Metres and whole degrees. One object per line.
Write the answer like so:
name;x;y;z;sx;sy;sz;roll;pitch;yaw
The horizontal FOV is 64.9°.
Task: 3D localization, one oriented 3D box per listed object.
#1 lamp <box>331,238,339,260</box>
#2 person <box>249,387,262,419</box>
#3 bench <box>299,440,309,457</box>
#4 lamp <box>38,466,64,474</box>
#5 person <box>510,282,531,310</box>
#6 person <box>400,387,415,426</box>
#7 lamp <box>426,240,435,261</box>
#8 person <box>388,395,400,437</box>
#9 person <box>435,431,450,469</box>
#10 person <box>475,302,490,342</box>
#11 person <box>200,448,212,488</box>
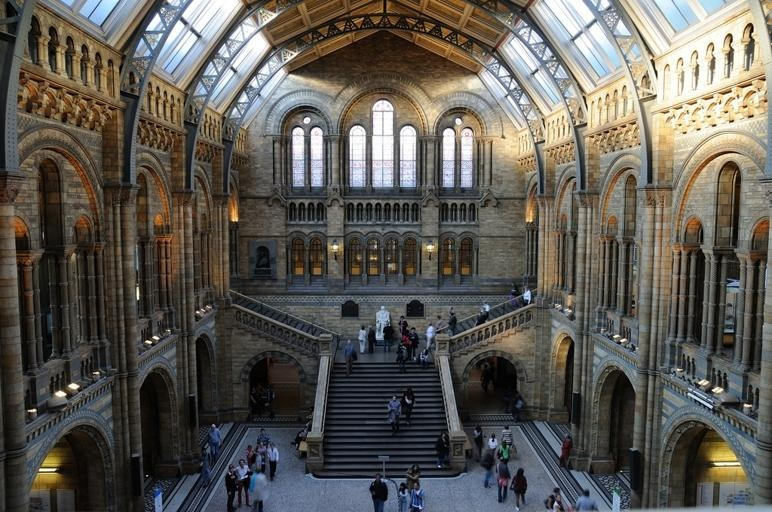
lamp;-3.313;-0.369;39.704;0.447;1.333;0.217;2;-2;6
person;-7.344;8.222;34.125;0.594;1.488;1.203;3;-2;-33
bench;-3.942;9.149;28.543;0.326;0.917;1.216;2;-2;-12
lamp;-12.286;7.813;22.135;1.064;0.279;0.156;1;-2;17
person;8.224;2.574;37.719;1.108;1.658;0.400;1;3;2
person;1.043;7.417;30.058;0.703;1.690;1.129;2;-2;1
lamp;2.918;-0.298;39.970;0.509;1.291;0.258;2;-2;-1
person;0.399;7.717;29.265;0.546;1.639;0.892;2;-2;2
person;2.613;8.941;27.935;0.644;1.598;0.649;2;-2;-1
person;5.633;3.928;35.365;0.568;0.465;1.713;31;33;2
person;-8.110;9.391;27.187;0.432;1.419;1.268;2;-2;-17
